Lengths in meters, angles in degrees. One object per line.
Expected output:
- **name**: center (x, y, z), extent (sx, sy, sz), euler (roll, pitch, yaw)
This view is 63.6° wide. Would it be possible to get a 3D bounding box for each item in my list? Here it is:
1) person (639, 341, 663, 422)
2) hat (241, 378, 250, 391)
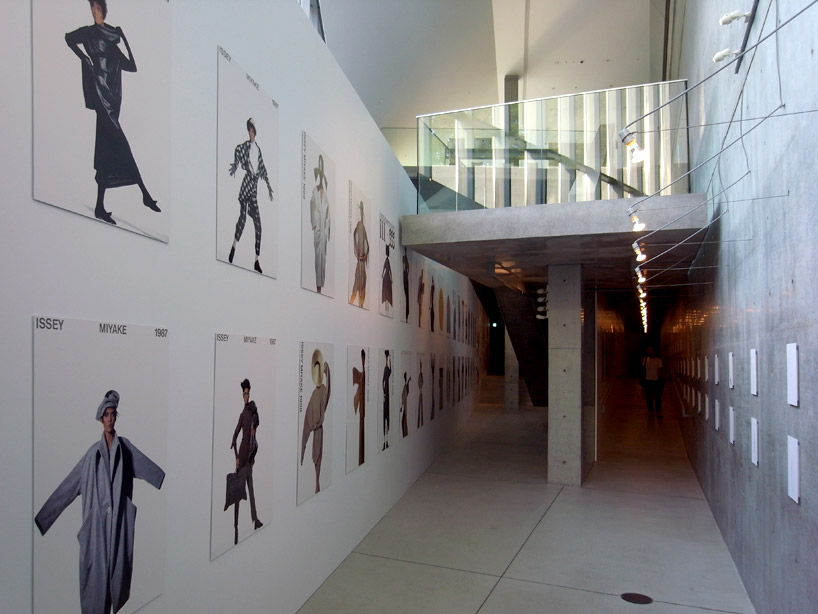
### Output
- **person**: center (6.758, 2.146, 18.368), extent (0.553, 2.147, 0.578), euler (-3, 16, 22)
- **hat**: center (-1.447, 0.698, 5.814), extent (0.061, 0.073, 0.076), euler (2, -19, -10)
